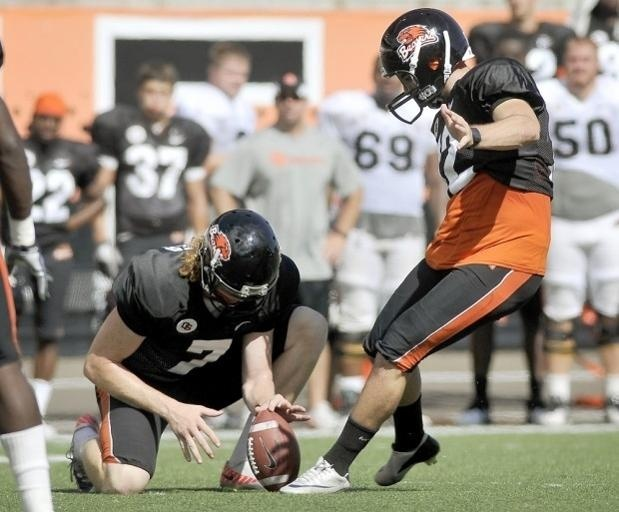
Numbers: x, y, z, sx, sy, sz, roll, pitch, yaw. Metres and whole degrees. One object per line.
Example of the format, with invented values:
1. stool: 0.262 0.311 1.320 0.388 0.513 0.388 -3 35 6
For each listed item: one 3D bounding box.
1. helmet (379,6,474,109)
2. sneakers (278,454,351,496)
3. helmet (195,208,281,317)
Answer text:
1. helmet: 0.545 -0.855 4.820 0.428 0.476 0.356 -2 1 8
2. sneakers: 0.009 0.932 4.634 0.314 0.148 0.112 0 7 -6
3. helmet: -0.320 0.051 4.535 0.307 0.408 0.346 1 -30 -25
